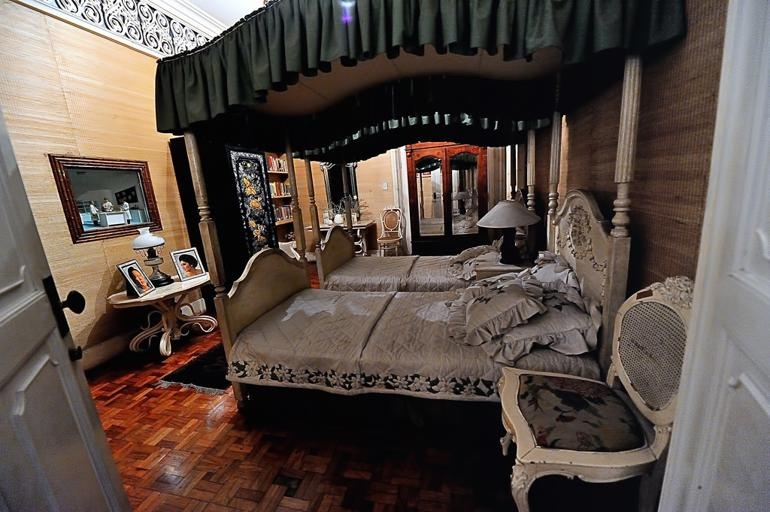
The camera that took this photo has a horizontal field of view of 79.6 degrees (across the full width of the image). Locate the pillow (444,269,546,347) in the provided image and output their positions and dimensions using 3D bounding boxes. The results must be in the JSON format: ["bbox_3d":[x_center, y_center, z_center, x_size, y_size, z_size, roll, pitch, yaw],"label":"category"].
[{"bbox_3d":[0.661,0.357,2.861,0.462,0.138,0.510,-30,12,25],"label":"pillow"}]

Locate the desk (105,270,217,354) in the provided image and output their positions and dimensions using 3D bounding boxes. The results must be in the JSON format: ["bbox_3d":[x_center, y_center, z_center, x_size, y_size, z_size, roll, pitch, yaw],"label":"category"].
[{"bbox_3d":[-1.919,0.555,4.165,0.784,0.494,0.852,-6,9,-10],"label":"desk"}]

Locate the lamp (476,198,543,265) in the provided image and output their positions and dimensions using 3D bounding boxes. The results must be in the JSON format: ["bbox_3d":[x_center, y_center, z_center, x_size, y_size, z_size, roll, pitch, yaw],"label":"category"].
[{"bbox_3d":[1.059,-0.224,3.908,0.547,0.480,0.544,5,18,21],"label":"lamp"}]

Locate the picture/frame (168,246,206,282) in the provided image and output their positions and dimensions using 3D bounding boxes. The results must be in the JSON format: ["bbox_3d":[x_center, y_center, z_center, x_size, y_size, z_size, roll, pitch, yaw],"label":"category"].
[{"bbox_3d":[-1.869,0.099,4.381,0.023,0.306,0.282,-17,8,30],"label":"picture/frame"}]

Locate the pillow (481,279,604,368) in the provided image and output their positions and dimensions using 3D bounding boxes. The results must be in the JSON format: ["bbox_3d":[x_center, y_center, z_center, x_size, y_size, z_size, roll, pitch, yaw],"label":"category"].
[{"bbox_3d":[0.912,0.422,2.690,0.454,0.123,0.439,-21,30,-6],"label":"pillow"}]

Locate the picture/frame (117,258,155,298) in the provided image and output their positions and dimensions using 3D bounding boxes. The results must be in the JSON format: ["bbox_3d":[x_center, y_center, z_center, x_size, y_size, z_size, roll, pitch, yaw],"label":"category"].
[{"bbox_3d":[-2.128,0.210,3.967,0.179,0.306,0.227,-4,22,6],"label":"picture/frame"}]
